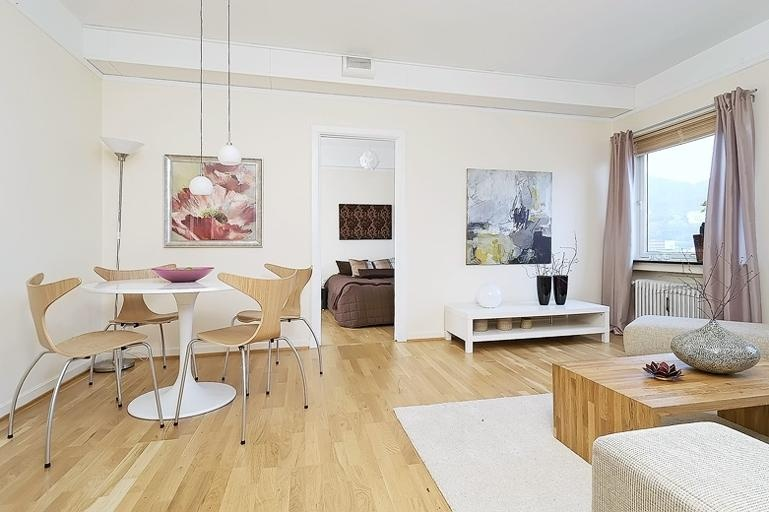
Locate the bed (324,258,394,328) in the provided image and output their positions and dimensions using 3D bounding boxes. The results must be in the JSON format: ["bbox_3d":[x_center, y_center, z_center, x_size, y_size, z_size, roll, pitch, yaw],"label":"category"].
[{"bbox_3d":[-0.373,0.580,7.467,0.959,0.626,1.400,0,6,-4],"label":"bed"}]

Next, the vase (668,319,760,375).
[{"bbox_3d":[2.442,0.655,3.746,0.521,0.306,0.380,-3,-2,9],"label":"vase"}]

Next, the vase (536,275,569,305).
[{"bbox_3d":[2.025,0.406,6.118,0.340,0.297,0.180,2,1,1],"label":"vase"}]

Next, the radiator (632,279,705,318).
[{"bbox_3d":[3.276,0.536,5.843,0.229,0.465,0.875,-1,7,-11],"label":"radiator"}]

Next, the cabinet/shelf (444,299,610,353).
[{"bbox_3d":[1.698,0.813,6.072,1.857,0.460,0.620,-1,7,-11],"label":"cabinet/shelf"}]
